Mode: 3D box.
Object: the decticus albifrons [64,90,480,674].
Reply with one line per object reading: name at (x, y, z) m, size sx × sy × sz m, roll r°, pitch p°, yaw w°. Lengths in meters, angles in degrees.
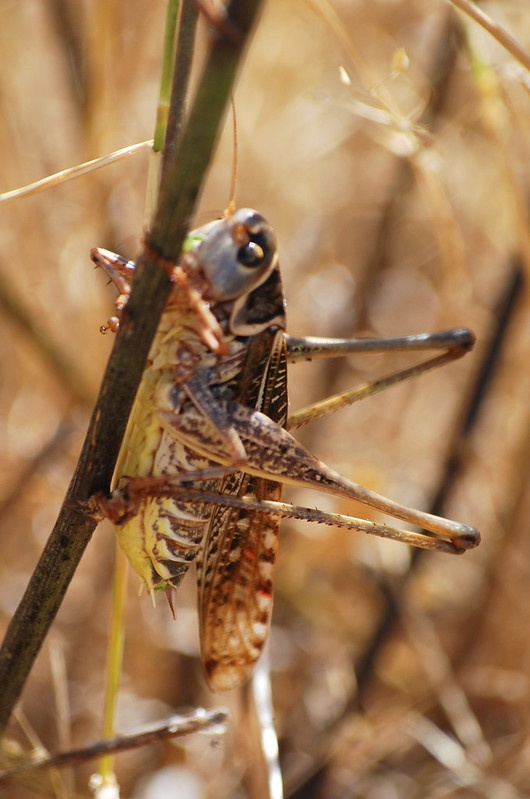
decticus albifrons at (-0.001, 0.084, 0.997) m, size 0.276 × 0.523 × 0.479 m, roll -9°, pitch -8°, yaw 40°
